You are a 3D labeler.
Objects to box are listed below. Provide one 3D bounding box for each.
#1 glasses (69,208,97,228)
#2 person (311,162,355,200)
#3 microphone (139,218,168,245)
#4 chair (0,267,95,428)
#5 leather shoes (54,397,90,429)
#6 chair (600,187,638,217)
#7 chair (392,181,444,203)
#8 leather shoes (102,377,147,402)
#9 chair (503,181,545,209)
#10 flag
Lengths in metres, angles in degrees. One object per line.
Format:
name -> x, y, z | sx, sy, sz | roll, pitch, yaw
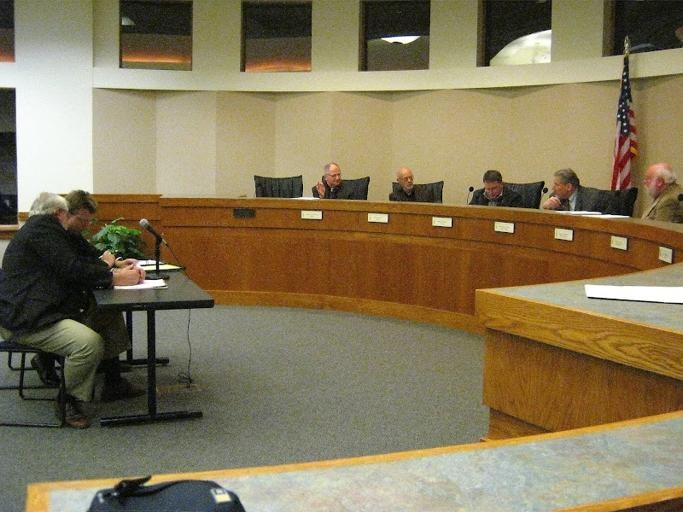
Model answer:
glasses -> -1.714, -0.260, 3.739 | 0.141, 0.142, 0.114 | -12, -1, 35
person -> -0.120, -0.850, 7.623 | 0.542, 0.779, 0.452 | -5, 16, -8
microphone -> -1.836, -0.253, 5.527 | 0.110, 0.411, 0.096 | -41, -7, 10
chair -> -1.843, 0.489, 3.562 | 0.515, 0.942, 0.967 | -5, 11, -31
leather shoes -> -1.637, 0.936, 3.441 | 0.332, 0.209, 0.130 | -2, -2, 44
chair -> 2.638, -0.520, 5.382 | 0.264, 0.261, 0.325 | 5, 10, 23
chair -> 1.019, -0.891, 7.713 | 0.768, 0.260, 0.536 | 5, 10, 23
leather shoes -> -1.464, 0.880, 3.784 | 0.328, 0.161, 0.120 | 0, 0, -22
chair -> 2.166, -0.709, 6.690 | 0.377, 0.527, 0.422 | 2, 3, 29
flag -> 3.630, -1.730, 7.197 | 0.283, 1.715, 0.587 | 5, 10, 26
